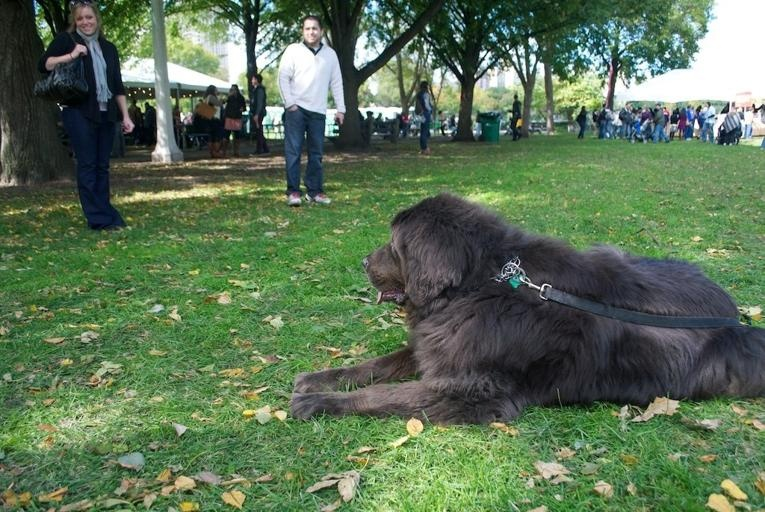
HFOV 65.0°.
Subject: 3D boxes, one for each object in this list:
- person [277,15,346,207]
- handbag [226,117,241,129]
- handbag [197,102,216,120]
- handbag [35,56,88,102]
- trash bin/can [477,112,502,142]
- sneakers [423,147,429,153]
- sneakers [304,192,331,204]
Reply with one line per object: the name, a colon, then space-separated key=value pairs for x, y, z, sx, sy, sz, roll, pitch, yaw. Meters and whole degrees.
person: x=-1.262 y=-2.546 z=10.650 sx=0.960 sy=3.237 sz=1.213 roll=2 pitch=15 yaw=8
handbag: x=-4.851 y=-4.252 z=19.473 sx=0.392 sy=0.283 sz=0.390 roll=6 pitch=9 yaw=19
handbag: x=-6.059 y=-4.973 z=20.696 sx=0.799 sy=0.544 sz=0.162 roll=22 pitch=0 yaw=8
handbag: x=-4.297 y=-2.348 z=8.017 sx=0.715 sy=0.589 sz=0.292 roll=2 pitch=6 yaw=20
trash bin/can: x=5.906 y=-7.122 z=33.491 sx=1.201 sy=1.506 sz=2.080 roll=2 pitch=14 yaw=8
sneakers: x=1.712 y=-3.990 z=23.044 sx=0.145 sy=0.192 sz=0.472 roll=6 pitch=27 yaw=23
sneakers: x=-1.192 y=-1.035 z=11.018 sx=0.540 sy=0.223 sz=0.195 roll=4 pitch=9 yaw=19
